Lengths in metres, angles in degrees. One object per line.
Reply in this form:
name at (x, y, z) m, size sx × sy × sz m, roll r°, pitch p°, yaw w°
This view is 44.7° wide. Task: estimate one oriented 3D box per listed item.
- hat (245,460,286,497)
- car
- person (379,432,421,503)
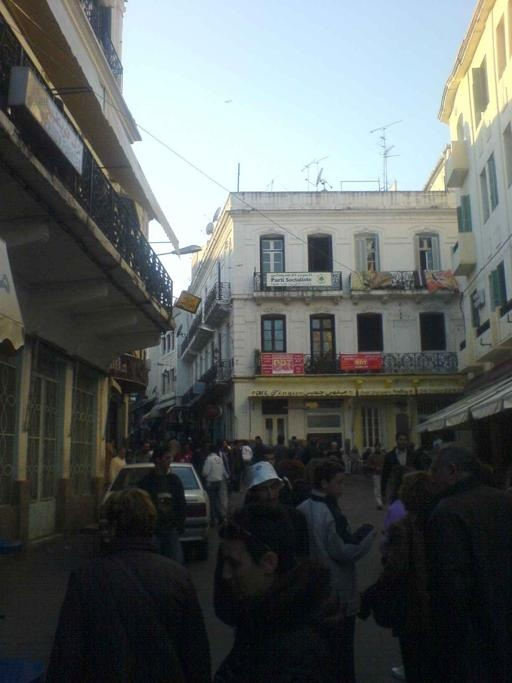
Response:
hat at (0.033, 0.787, 3.613) m, size 0.142 × 0.106 × 0.191 m, roll -7°, pitch -15°, yaw -15°
car at (-1.439, 2.529, 9.889) m, size 1.429 × 1.563 × 3.041 m, roll 0°, pitch 0°, yaw -1°
person at (2.220, 2.137, 9.513) m, size 0.502 × 1.385 × 0.382 m, roll 0°, pitch -4°, yaw -1°
